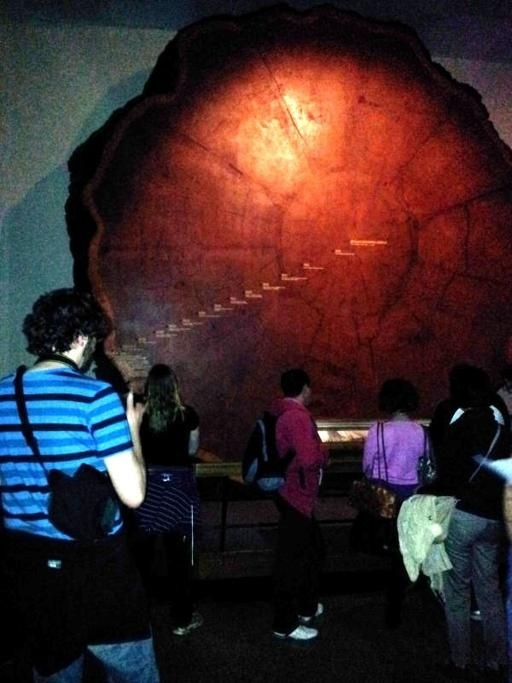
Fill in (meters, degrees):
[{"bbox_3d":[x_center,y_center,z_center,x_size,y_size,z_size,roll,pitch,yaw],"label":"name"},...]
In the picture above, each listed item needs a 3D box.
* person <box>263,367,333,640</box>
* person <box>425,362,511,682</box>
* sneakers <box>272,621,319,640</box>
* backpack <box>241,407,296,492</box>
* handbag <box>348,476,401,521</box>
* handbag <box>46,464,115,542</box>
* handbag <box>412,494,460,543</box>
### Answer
[{"bbox_3d":[0.175,0.679,2.975,0.220,1.116,0.246,1,7,2],"label":"person"},{"bbox_3d":[0.926,0.670,2.911,0.311,1.197,0.690,5,8,26],"label":"person"},{"bbox_3d":[0.172,1.211,2.962,0.139,0.053,0.080,-4,0,-3],"label":"sneakers"},{"bbox_3d":[0.033,0.499,3.028,0.216,0.325,0.243,5,-20,-11],"label":"backpack"},{"bbox_3d":[0.517,0.669,3.030,0.095,0.159,0.256,4,-4,-38],"label":"handbag"},{"bbox_3d":[-0.414,0.380,1.683,0.177,0.169,0.047,-19,7,-28],"label":"handbag"},{"bbox_3d":[0.685,0.668,2.730,0.156,0.218,0.233,4,9,10],"label":"handbag"}]
